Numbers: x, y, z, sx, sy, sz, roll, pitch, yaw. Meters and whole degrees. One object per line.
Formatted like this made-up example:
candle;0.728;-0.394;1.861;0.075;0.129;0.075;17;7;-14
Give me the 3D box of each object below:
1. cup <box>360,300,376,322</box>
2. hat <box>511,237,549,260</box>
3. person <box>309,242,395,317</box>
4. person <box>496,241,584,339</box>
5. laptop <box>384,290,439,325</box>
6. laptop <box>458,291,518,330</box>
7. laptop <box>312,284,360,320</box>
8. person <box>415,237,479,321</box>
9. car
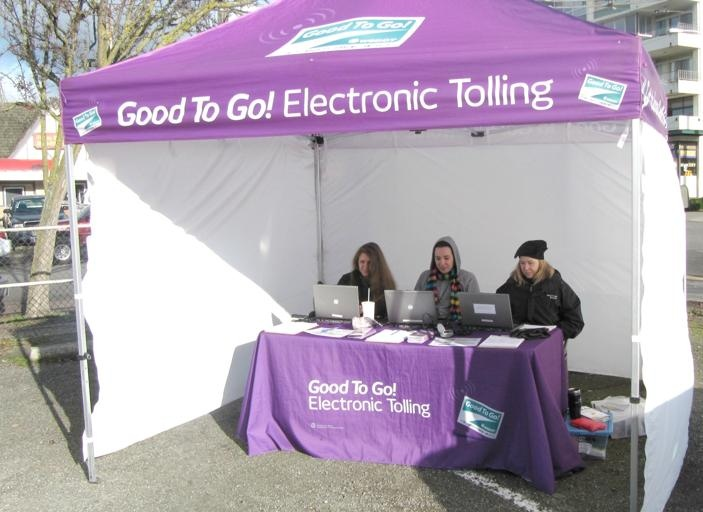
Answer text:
cup;0.179;0.539;5.814;0.134;0.257;0.161;-4;5;-11
hat;1.933;-0.082;6.231;0.260;0.179;0.204;-9;12;-36
person;0.054;0.243;7.154;0.745;1.364;0.817;0;-3;22
person;1.975;0.363;6.333;0.887;1.078;0.545;3;10;38
laptop;0.582;0.503;5.703;0.401;0.355;0.318;1;6;20
laptop;1.265;0.520;5.527;0.394;0.358;0.337;1;6;21
laptop;-0.158;0.461;5.934;0.404;0.351;0.320;1;4;20
person;1.099;0.255;6.500;0.692;0.964;0.449;0;-3;32
car;-6.912;-0.542;13.165;1.607;1.760;3.486;-2;4;-28
